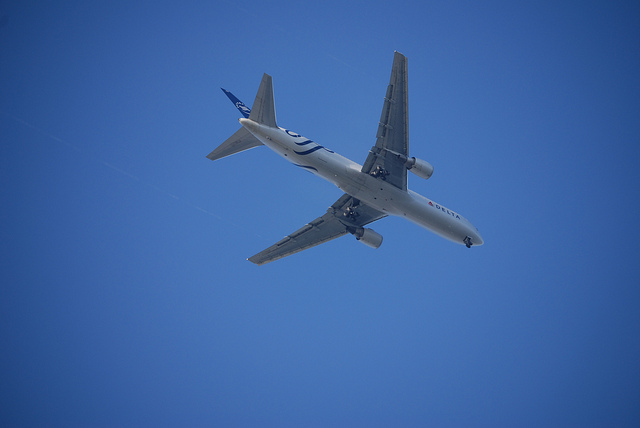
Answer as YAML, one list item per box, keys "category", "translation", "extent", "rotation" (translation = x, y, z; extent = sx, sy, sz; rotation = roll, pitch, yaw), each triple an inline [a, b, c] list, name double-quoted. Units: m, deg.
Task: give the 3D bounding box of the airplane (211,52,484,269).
- category: "airplane"
  translation: [1.987, -1.667, 41.044]
  extent: [11.950, 3.718, 9.752]
  rotation: [28, -95, -30]
